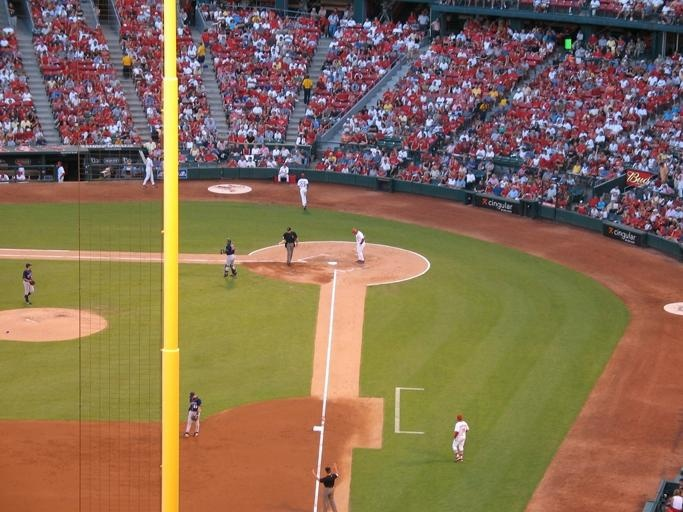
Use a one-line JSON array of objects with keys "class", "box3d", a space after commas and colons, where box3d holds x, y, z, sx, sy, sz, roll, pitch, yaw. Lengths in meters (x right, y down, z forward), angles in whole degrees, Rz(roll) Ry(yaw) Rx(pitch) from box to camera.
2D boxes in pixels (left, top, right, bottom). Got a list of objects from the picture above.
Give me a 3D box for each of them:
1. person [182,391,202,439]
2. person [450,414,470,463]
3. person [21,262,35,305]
[{"class": "person", "box3d": [-5.088, 5.167, 50.168, 0.527, 1.519, 1.629, 2, 22, -4]}, {"class": "person", "box3d": [4.130, 6.013, 49.815, 0.493, 1.504, 1.399, 6, 22, 5]}, {"class": "person", "box3d": [-12.361, 0.934, 57.538, 0.403, 1.673, 0.986, -1, 23, -12]}]
